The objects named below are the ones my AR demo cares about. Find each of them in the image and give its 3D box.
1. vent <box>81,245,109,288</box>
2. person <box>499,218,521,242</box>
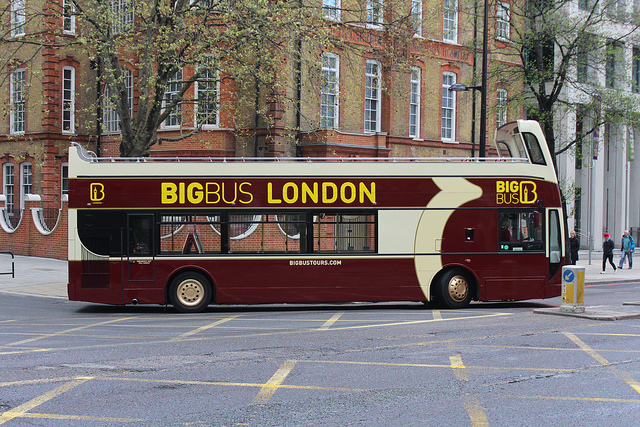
[{"bbox_3d":[-6.938,1.778,26.729,0.205,1.517,1.175,-5,-7,38],"label":"vent"},{"bbox_3d":[6.021,0.534,27.551,0.429,0.768,0.598,-25,20,-34],"label":"person"}]
